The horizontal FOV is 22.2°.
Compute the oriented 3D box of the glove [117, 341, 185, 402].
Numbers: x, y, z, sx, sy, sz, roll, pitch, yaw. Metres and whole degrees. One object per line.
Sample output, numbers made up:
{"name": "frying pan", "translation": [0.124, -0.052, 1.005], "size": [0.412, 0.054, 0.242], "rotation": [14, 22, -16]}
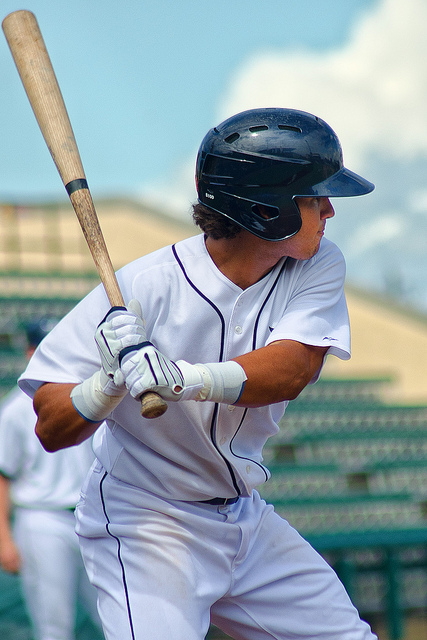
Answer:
{"name": "glove", "translation": [-0.192, 0.160, 3.417], "size": [0.178, 0.180, 0.138], "rotation": [-8, 10, -17]}

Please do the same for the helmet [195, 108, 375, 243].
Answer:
{"name": "helmet", "translation": [0.260, -0.566, 3.944], "size": [0.665, 0.363, 0.414], "rotation": [-2, 28, 5]}

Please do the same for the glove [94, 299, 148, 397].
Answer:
{"name": "glove", "translation": [-0.259, 0.089, 3.527], "size": [0.209, 0.266, 0.114], "rotation": [-27, -42, 29]}

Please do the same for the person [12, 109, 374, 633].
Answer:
{"name": "person", "translation": [0.024, 0.227, 3.805], "size": [1.145, 1.879, 0.765], "rotation": [-14, 13, -39]}
